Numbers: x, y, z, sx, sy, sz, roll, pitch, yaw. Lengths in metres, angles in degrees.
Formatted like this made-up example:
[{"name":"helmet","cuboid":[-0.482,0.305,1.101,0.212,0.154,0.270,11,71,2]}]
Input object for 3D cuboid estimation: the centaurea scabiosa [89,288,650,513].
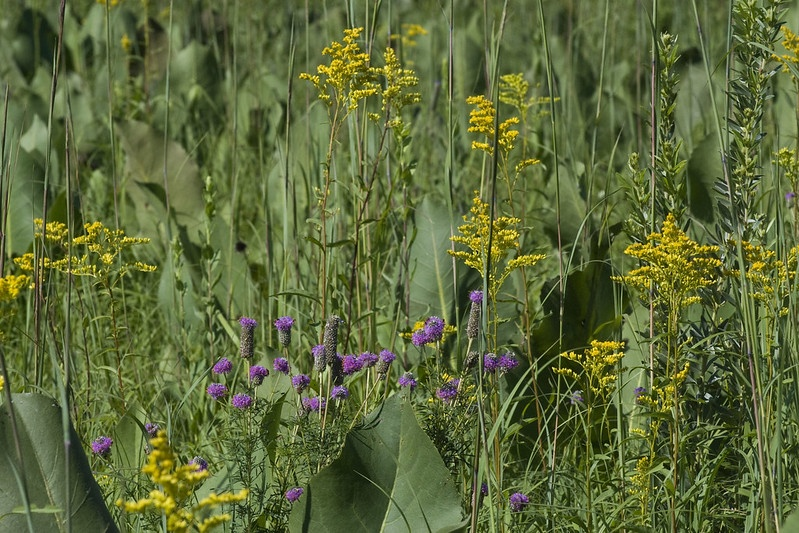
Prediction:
[{"name":"centaurea scabiosa","cuboid":[0.019,0.618,6.292,1.772,0.878,0.959,-9,-1,-11]}]
